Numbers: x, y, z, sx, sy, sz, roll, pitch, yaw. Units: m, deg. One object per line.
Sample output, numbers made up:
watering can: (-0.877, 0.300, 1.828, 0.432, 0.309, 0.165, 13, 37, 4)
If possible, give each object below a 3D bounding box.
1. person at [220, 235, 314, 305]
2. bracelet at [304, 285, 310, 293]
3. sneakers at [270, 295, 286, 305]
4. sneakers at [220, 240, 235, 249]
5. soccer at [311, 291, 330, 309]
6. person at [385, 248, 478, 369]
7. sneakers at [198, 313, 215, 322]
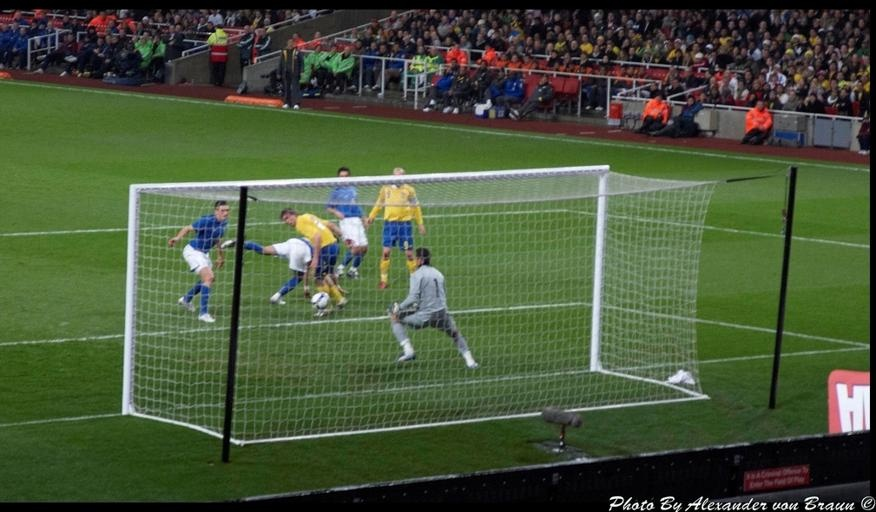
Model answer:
person: (-2.952, 0.169, 18.757, 1.870, 1.156, 0.624, 12, -14, 13)
bracelet: (-2.337, 0.595, 18.810, 0.098, 0.091, 0.308, 12, 7, -11)
sneakers: (-2.815, 0.775, 18.615, 0.218, 0.135, 0.064, -9, 47, -16)
sneakers: (-3.557, -0.186, 17.917, 0.202, 0.122, 0.313, -7, 5, -12)
soccer: (-1.986, 0.772, 17.937, 0.285, 0.307, 0.335, 3, 8, -5)
person: (-0.111, 0.788, 16.606, 1.278, 1.803, 0.485, 4, 9, -3)
sneakers: (-3.867, 1.026, 17.740, 0.261, 0.145, 0.227, 2, 8, -15)
